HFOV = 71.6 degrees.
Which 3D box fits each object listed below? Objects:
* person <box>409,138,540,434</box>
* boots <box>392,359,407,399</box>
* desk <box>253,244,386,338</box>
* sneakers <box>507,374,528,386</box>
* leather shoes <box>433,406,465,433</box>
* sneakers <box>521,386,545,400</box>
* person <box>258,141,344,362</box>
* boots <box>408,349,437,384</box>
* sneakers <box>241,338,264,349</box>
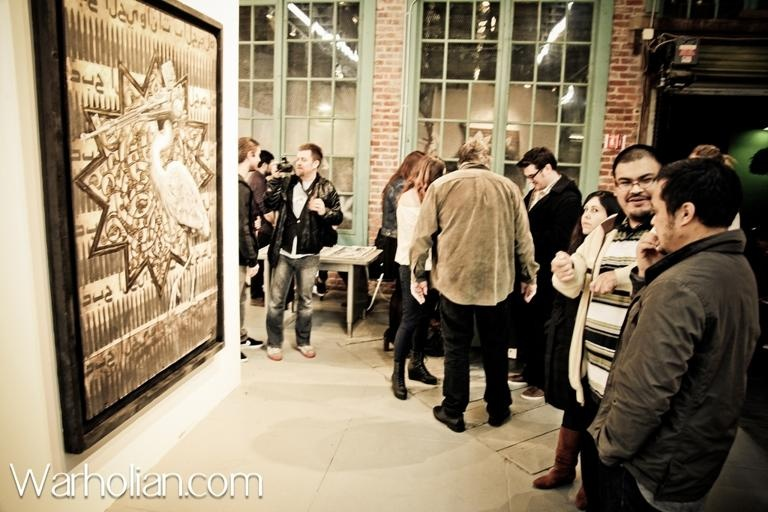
[{"bbox_3d":[0.655,0.226,3.974,0.937,2.102,0.610,5,15,10],"label":"person"},{"bbox_3d":[0.130,1.031,4.447,0.112,0.257,0.310,2,14,-13],"label":"boots"},{"bbox_3d":[-0.636,0.102,6.146,1.475,1.018,0.993,4,14,17],"label":"desk"},{"bbox_3d":[1.194,1.127,4.782,0.231,0.090,0.083,5,4,6],"label":"sneakers"},{"bbox_3d":[0.492,1.239,4.054,0.105,0.120,0.303,-4,15,-29],"label":"leather shoes"},{"bbox_3d":[1.262,1.168,4.503,0.195,0.074,0.093,3,0,-24],"label":"sneakers"},{"bbox_3d":[-0.762,-0.024,4.991,0.679,2.003,0.409,-1,15,-13],"label":"person"},{"bbox_3d":[0.356,1.001,4.745,0.319,0.245,0.135,4,2,39],"label":"boots"},{"bbox_3d":[-1.317,0.877,5.319,0.212,0.088,0.084,1,7,-9],"label":"sneakers"}]
